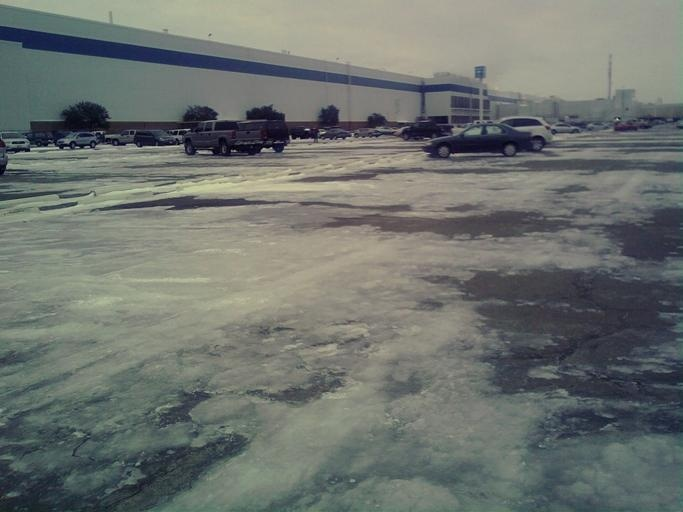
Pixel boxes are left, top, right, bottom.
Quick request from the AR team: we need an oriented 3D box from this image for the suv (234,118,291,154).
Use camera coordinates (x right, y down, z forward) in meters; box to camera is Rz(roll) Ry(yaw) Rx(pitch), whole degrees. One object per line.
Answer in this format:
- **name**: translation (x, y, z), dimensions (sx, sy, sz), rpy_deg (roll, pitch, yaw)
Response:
- **suv**: translation (-4.888, -7.639, 33.604), dimensions (3.364, 2.065, 1.087), rpy_deg (-8, 16, -37)

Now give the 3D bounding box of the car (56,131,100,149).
- **car**: translation (-25.473, -11.230, 51.069), dimensions (1.972, 1.637, 3.285), rpy_deg (9, 14, 34)

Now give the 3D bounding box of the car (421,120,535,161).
- **car**: translation (6.462, -5.653, 25.321), dimensions (5.287, 1.214, 1.770), rpy_deg (2, 12, 6)

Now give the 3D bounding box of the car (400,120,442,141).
- **car**: translation (7.944, -12.548, 53.088), dimensions (4.364, 1.481, 2.175), rpy_deg (4, 16, 14)
